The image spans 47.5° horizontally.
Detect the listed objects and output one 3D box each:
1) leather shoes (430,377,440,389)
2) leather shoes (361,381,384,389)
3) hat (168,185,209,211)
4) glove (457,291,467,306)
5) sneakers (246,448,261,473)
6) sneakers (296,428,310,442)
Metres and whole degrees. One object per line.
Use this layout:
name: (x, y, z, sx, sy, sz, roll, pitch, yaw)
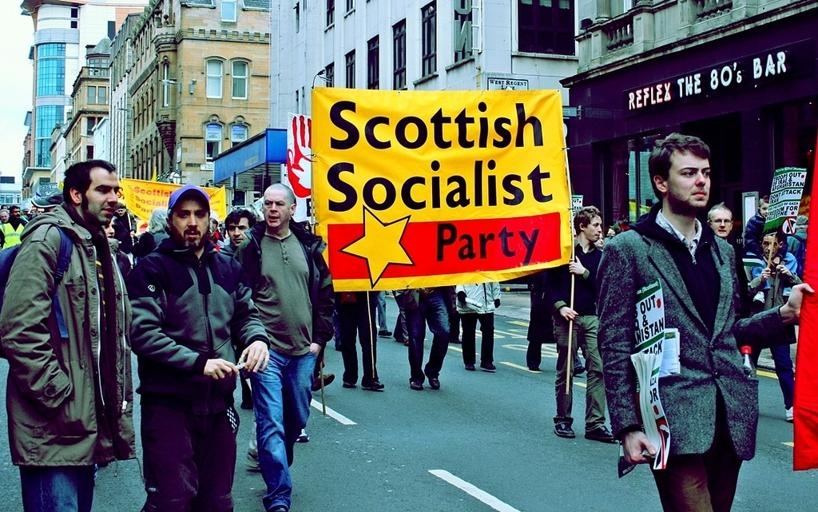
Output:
leather shoes: (0.355, 1.747, 12.839, 0.116, 0.153, 0.147, 6, -1, -17)
leather shoes: (-0.498, 1.774, 12.825, 0.308, 0.141, 0.116, -2, -2, 7)
hat: (-1.726, -0.458, 7.225, 0.293, 0.187, 0.371, -1, 5, -15)
glove: (0.810, 0.635, 14.244, 0.144, 0.200, 0.108, -14, -31, -24)
sneakers: (-1.598, 2.050, 9.412, 0.087, 0.207, 0.267, -3, 5, -32)
sneakers: (-1.175, 1.997, 10.342, 0.117, 0.147, 0.323, 0, -9, -2)
